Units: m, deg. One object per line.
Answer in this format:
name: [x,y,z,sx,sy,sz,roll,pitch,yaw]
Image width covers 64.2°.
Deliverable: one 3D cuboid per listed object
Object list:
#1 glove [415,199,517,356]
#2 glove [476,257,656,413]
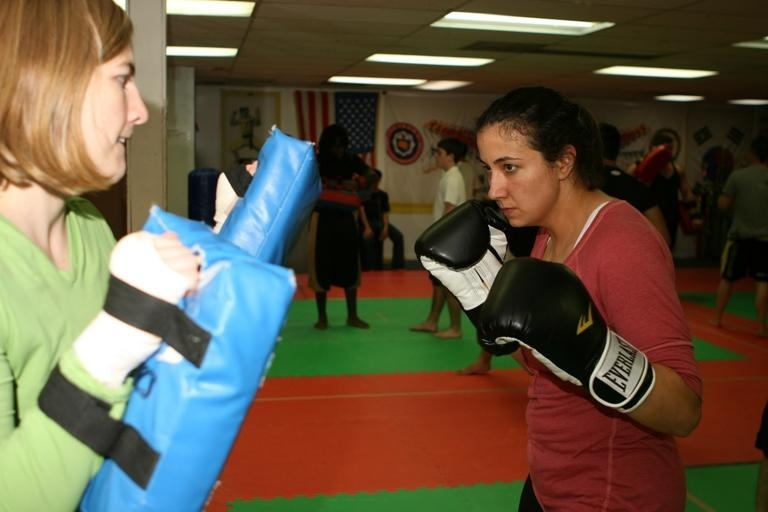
glove: [0.321,0.079,1.942,0.190,0.324,0.467,39,26,-36]
glove: [0.414,0.217,1.524,0.421,0.267,0.154,31,-27,13]
